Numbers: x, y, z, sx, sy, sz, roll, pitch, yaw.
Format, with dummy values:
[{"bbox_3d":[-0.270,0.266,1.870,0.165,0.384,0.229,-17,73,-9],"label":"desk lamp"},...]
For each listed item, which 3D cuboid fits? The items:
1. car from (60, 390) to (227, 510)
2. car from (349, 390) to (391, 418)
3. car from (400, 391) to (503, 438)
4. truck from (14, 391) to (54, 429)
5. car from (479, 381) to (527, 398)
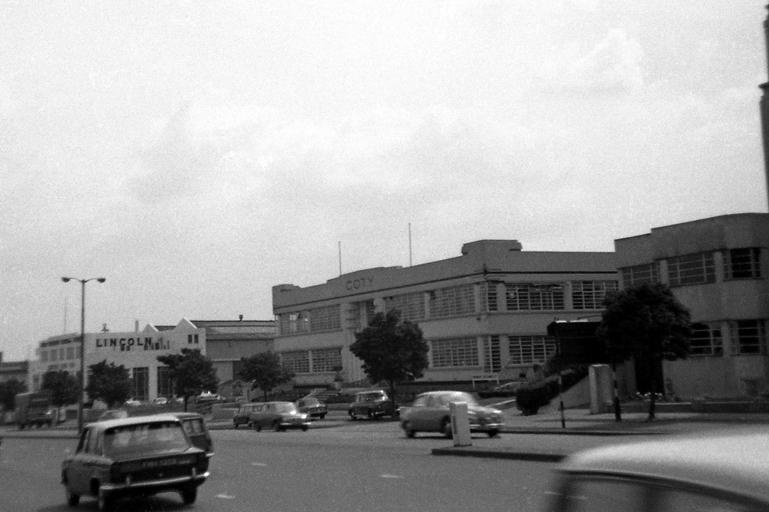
[{"bbox_3d":[-6.763,5.452,23.286,3.768,2.392,2.051,-8,-10,28],"label":"car"},{"bbox_3d":[-1.134,10.007,58.695,1.538,1.221,2.707,4,-15,-29],"label":"car"},{"bbox_3d":[2.831,6.691,37.129,2.162,1.964,4.578,3,-11,-33],"label":"car"},{"bbox_3d":[-32.715,14.204,81.280,2.864,3.259,1.808,1,-10,-26],"label":"truck"},{"bbox_3d":[8.601,9.647,63.258,1.911,0.719,3.037,-11,-7,17],"label":"car"}]
